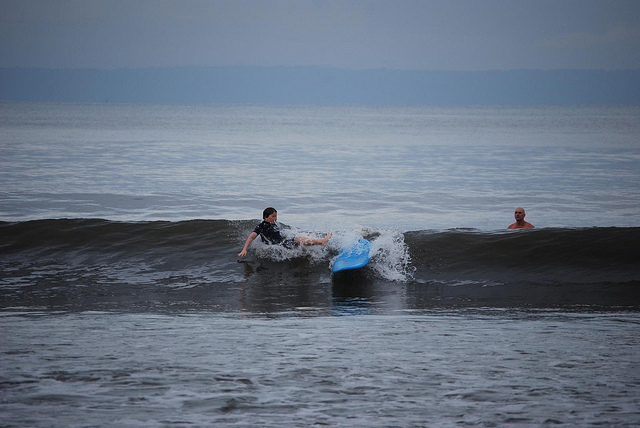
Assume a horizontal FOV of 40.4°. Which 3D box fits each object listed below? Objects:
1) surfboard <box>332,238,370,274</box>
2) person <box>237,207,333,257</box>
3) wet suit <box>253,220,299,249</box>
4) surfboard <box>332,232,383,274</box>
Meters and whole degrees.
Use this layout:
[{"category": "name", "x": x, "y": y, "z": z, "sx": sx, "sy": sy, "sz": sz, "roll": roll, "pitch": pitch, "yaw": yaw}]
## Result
[{"category": "surfboard", "x": 0.617, "y": 0.877, "z": 17.648, "sx": 0.722, "sy": 0.590, "sz": 0.865, "roll": 1, "pitch": 1, "yaw": 2}, {"category": "person", "x": -0.837, "y": 0.379, "z": 18.412, "sx": 2.018, "sy": 0.613, "sz": 1.102, "roll": 3, "pitch": 11, "yaw": 4}, {"category": "wet suit", "x": -0.932, "y": 0.414, "z": 18.326, "sx": 0.986, "sy": 0.281, "sz": 0.625, "roll": 10, "pitch": 12, "yaw": 9}, {"category": "surfboard", "x": 0.675, "y": 0.856, "z": 17.755, "sx": 0.810, "sy": 0.658, "sz": 1.064, "roll": 1, "pitch": 1, "yaw": 3}]
